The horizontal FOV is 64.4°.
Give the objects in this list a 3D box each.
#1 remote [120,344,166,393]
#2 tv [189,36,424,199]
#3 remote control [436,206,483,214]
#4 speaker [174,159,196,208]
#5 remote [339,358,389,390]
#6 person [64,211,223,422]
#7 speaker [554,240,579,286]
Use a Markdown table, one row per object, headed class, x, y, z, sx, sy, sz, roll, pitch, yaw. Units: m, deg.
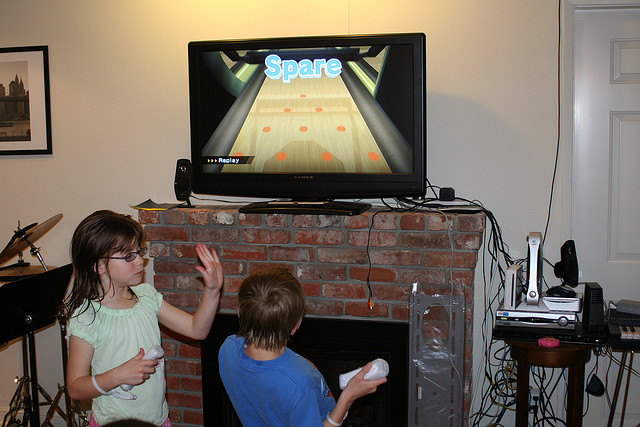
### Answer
| class | x | y | z | sx | sy | sz | roll | pitch | yaw |
| --- | --- | --- | --- | --- | --- | --- | --- | --- | --- |
| remote | -0.815 | 0.691 | 2.277 | 0.289 | 0.077 | 0.076 | -43 | 1 | -6 |
| tv | -0.033 | -0.594 | 3.017 | 0.976 | 0.655 | 0.095 | -1 | 6 | 9 |
| remote control | 0.808 | -0.024 | 2.946 | 0.270 | 0.034 | 0.126 | 1 | 1 | 8 |
| speaker | -0.869 | -0.196 | 3.246 | 0.198 | 0.298 | 0.199 | 0 | -4 | 0 |
| remote | 0.220 | 0.688 | 2.264 | 0.276 | 0.095 | 0.096 | -18 | -34 | 3 |
| person | -0.843 | 0.498 | 2.364 | 0.640 | 1.013 | 0.387 | 1 | 1 | -28 |
| speaker | 1.528 | 0.278 | 3.030 | 0.125 | 0.250 | 0.261 | 15 | 6 | 30 |
